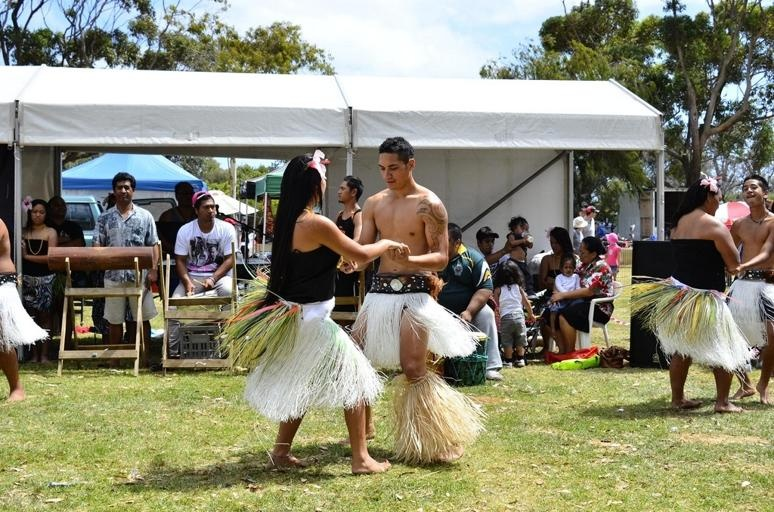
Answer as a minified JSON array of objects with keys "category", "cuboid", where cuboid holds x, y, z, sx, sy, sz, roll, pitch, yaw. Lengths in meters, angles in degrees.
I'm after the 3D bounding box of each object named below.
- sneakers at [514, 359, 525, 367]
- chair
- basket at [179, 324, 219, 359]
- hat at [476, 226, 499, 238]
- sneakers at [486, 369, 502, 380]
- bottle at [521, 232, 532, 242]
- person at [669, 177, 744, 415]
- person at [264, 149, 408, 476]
[{"category":"sneakers","cuboid":[1.639,1.311,11.463,0.085,0.097,0.112,-1,-26,33]},{"category":"chair","cuboid":[2.720,0.748,12.011,0.825,1.055,0.810,1,-3,-16]},{"category":"basket","cuboid":[-2.430,1.038,11.328,0.593,0.400,0.593,2,0,-32]},{"category":"hat","cuboid":[1.278,-0.303,12.264,0.167,0.143,0.263,0,-3,-27]},{"category":"sneakers","cuboid":[1.248,1.355,10.739,0.189,0.079,0.193,6,14,23]},{"category":"bottle","cuboid":[1.906,-0.241,12.461,0.128,0.103,0.418,-36,2,0]},{"category":"person","cuboid":[3.254,0.409,9.418,0.755,2.335,0.764,3,14,11]},{"category":"person","cuboid":[-0.624,0.488,8.083,1.222,2.724,0.712,-1,14,-2]}]
